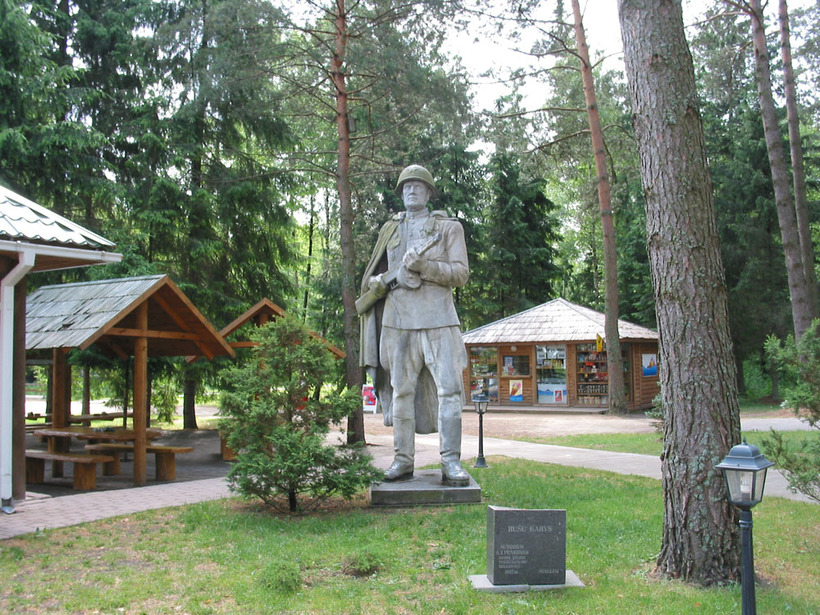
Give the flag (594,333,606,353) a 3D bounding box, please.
[{"bbox_3d":[6.672,1.202,29.953,0.066,0.776,0.705,-5,-8,32],"label":"flag"}]
